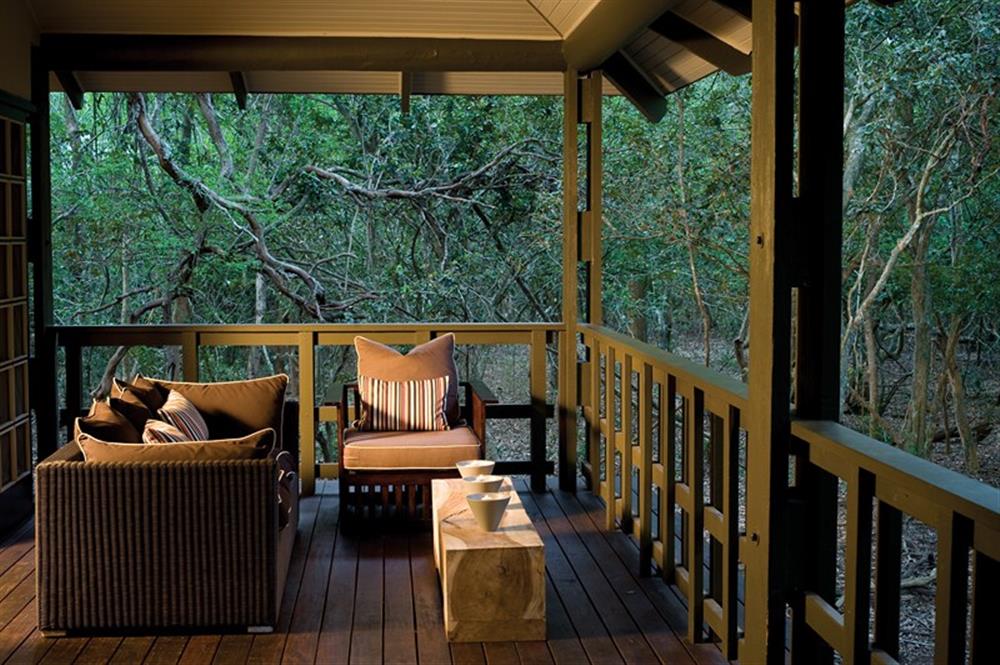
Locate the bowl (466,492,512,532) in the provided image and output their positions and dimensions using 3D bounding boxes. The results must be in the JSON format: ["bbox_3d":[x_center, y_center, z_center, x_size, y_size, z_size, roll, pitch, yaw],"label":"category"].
[{"bbox_3d":[-0.061,0.905,4.077,0.194,0.144,0.195,-1,-3,0],"label":"bowl"}]

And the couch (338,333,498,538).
[{"bbox_3d":[-0.633,0.649,5.467,0.976,1.270,1.028,1,2,-10],"label":"couch"}]

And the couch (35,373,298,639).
[{"bbox_3d":[-1.738,0.411,4.309,1.051,1.096,2.077,0,1,-12],"label":"couch"}]
